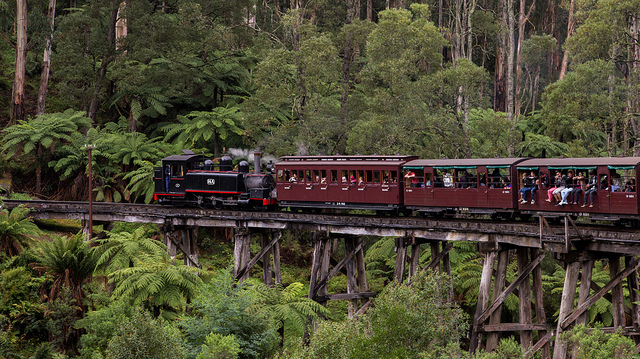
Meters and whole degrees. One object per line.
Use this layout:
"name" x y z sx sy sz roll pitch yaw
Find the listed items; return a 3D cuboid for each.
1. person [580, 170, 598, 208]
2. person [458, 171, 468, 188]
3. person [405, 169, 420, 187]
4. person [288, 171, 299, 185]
"person" 18.628 0.714 51.999 0.869 2.569 0.296 4 1 20
"person" 10.451 0.069 55.196 0.829 1.522 0.460 -8 -27 25
"person" 6.867 -0.043 56.262 0.746 1.355 0.315 -34 -15 28
"person" -2.094 -0.055 59.594 0.748 1.421 0.775 -8 -18 31
